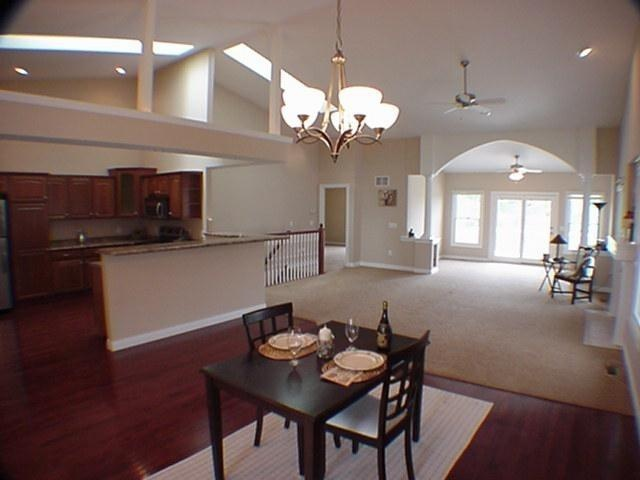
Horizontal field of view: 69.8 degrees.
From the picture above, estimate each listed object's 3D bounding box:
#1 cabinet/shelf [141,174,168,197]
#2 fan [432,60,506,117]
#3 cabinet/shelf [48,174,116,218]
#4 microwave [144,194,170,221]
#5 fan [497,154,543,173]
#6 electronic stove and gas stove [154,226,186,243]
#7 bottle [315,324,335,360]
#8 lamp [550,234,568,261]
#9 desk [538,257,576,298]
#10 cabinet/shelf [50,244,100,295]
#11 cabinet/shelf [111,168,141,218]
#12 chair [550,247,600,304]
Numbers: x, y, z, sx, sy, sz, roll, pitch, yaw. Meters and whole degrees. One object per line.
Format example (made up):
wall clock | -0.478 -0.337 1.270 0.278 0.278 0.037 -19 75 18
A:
cabinet/shelf | -3.346 -1.104 9.355 0.436 0.446 0.190 5 10 30
fan | 2.262 -2.389 7.101 0.867 0.674 0.929 -4 6 -39
cabinet/shelf | -4.759 -0.844 9.124 0.234 0.904 1.265 16 15 42
microwave | -3.274 -0.669 9.253 0.481 0.452 0.258 4 3 39
fan | 5.058 -1.833 11.382 0.608 0.288 0.619 -10 13 -27
electronic stove and gas stove | -3.092 -0.110 9.461 0.846 0.276 0.412 8 16 33
bottle | 0.051 0.970 4.398 0.205 0.274 0.217 2 13 -1
lamp | 5.684 0.198 10.844 0.409 0.687 0.417 10 24 43
desk | 5.191 0.751 10.152 0.531 0.528 0.398 33 7 7
cabinet/shelf | -4.504 0.567 8.370 0.411 0.813 0.843 2 5 22
cabinet/shelf | -4.111 -0.984 9.758 0.574 1.051 0.584 3 -2 44
chair | 4.915 0.626 8.834 0.612 1.010 0.609 2 8 -32
